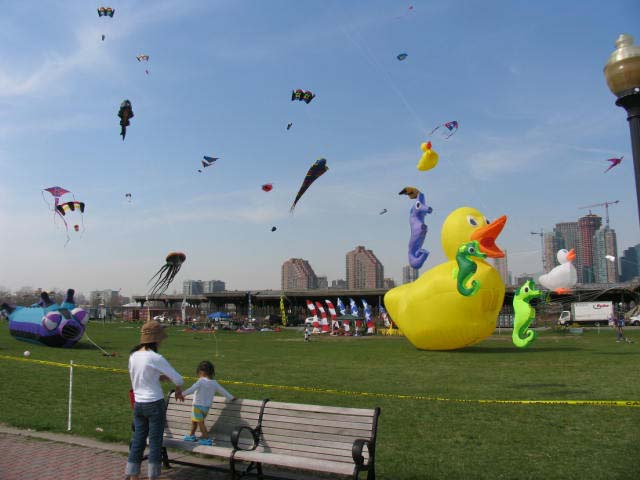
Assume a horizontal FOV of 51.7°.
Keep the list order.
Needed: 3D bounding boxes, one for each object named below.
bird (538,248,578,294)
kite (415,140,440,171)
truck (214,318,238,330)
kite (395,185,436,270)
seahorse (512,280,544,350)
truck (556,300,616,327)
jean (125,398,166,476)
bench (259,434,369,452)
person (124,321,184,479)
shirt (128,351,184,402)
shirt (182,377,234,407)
[{"bbox_3d":[9.374,1.212,26.029,1.289,1.717,1.516,-4,-8,16],"label":"bird"},{"bbox_3d":[4.464,-3.514,27.615,0.760,1.229,1.802,-3,-7,8],"label":"kite"},{"bbox_3d":[-8.623,7.501,59.180,1.839,0.666,1.190,1,-6,19],"label":"truck"},{"bbox_3d":[4.326,-0.644,29.615,1.055,3.578,1.600,-3,-8,8],"label":"kite"},{"bbox_3d":[8.151,2.898,26.180,0.759,2.591,1.262,0,-8,-10],"label":"seahorse"},{"bbox_3d":[23.436,6.506,58.166,4.333,2.098,2.829,-5,-8,32],"label":"truck"},{"bbox_3d":[-3.233,3.629,12.236,0.672,1.380,0.265,-2,-9,5],"label":"jean"},{"bbox_3d":[-0.287,3.742,12.276,1.791,0.210,0.051,-3,-9,16],"label":"bench"},{"bbox_3d":[-3.120,2.954,12.285,0.943,2.870,0.359,-3,-9,7],"label":"person"},{"bbox_3d":[-3.085,2.531,12.534,1.165,0.888,0.803,-14,-13,39],"label":"shirt"},{"bbox_3d":[-2.322,3.010,13.066,0.311,0.521,1.309,-15,-24,43],"label":"shirt"}]
